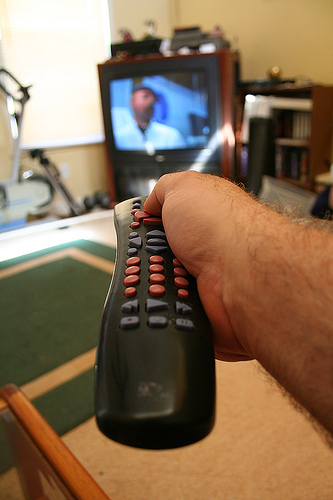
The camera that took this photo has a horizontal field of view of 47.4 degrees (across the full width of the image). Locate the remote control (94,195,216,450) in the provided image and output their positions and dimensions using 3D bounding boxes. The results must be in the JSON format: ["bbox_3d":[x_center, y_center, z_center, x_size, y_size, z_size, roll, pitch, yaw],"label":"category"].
[{"bbox_3d":[-0.008,0.020,0.243,0.051,0.026,0.205,6,31,-6],"label":"remote control"}]

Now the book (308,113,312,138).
[{"bbox_3d":[0.608,-0.528,1.610,0.012,0.100,0.092,2,15,18],"label":"book"}]

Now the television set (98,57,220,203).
[{"bbox_3d":[-0.019,-0.563,1.877,0.578,0.849,0.464,0,36,2],"label":"television set"}]

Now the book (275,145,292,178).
[{"bbox_3d":[0.569,-0.425,1.830,0.091,0.156,0.023,10,19,41],"label":"book"}]

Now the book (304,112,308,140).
[{"bbox_3d":[0.610,-0.542,1.660,0.011,0.109,0.028,-6,15,-15],"label":"book"}]

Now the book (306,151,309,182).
[{"bbox_3d":[0.633,-0.373,1.704,0.015,0.132,0.062,3,15,20],"label":"book"}]

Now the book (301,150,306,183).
[{"bbox_3d":[0.624,-0.376,1.727,0.019,0.133,0.043,1,14,13],"label":"book"}]

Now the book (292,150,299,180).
[{"bbox_3d":[0.604,-0.394,1.779,0.036,0.129,0.024,7,17,35],"label":"book"}]

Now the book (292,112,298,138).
[{"bbox_3d":[0.585,-0.565,1.724,0.014,0.108,0.046,-4,14,-6],"label":"book"}]
